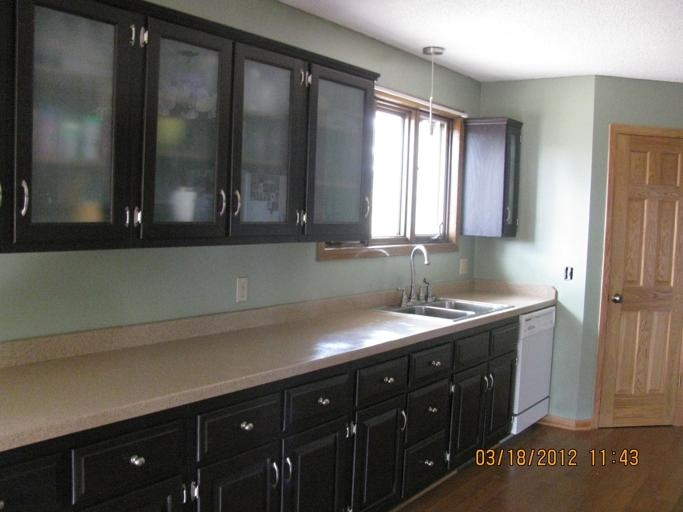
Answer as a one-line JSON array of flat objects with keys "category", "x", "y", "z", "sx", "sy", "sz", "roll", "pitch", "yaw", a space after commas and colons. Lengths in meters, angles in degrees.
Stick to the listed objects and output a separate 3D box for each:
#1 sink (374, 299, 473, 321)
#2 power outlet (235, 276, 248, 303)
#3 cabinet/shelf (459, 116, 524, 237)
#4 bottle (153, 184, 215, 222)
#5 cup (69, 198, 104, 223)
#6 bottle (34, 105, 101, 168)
[{"category": "sink", "x": 0.648, "y": 0.404, "z": 3.838, "sx": 0.800, "sy": 0.100, "sz": 0.326, "roll": -2, "pitch": 7, "yaw": -31}, {"category": "power outlet", "x": -0.558, "y": 0.187, "z": 2.996, "sx": 0.016, "sy": 0.141, "sz": 0.083, "roll": 7, "pitch": 8, "yaw": 41}, {"category": "cabinet/shelf", "x": 1.286, "y": -0.689, "z": 4.616, "sx": 0.539, "sy": 0.965, "sz": 0.552, "roll": 0, "pitch": 12, "yaw": 6}, {"category": "bottle", "x": -0.686, "y": -0.225, "z": 2.351, "sx": 0.264, "sy": 0.150, "sz": 0.013, "roll": -3, "pitch": 8, "yaw": -40}, {"category": "cup", "x": -0.990, "y": -0.176, "z": 2.096, "sx": 0.085, "sy": 0.063, "sz": 0.084, "roll": 2, "pitch": 8, "yaw": 0}, {"category": "bottle", "x": -1.049, "y": -0.454, "z": 2.035, "sx": 0.076, "sy": 0.213, "sz": 0.244, "roll": 10, "pitch": 9, "yaw": 42}]
